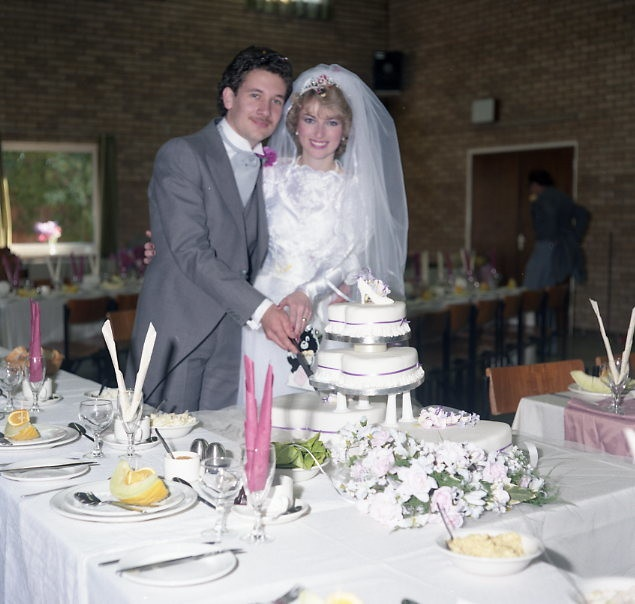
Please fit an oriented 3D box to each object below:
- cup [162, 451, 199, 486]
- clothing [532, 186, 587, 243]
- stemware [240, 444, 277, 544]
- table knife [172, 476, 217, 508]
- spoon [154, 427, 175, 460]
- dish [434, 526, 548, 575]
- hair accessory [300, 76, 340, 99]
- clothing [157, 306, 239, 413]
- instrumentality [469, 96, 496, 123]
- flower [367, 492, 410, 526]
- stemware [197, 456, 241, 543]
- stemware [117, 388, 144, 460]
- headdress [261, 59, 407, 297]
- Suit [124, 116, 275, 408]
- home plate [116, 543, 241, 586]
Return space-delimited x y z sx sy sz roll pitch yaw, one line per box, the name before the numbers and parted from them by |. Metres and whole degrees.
cup | -0.330 0.396 1.962 0.069 0.055 0.069 3 -7 0
clothing | 2.371 -0.836 8.094 0.474 0.624 0.574 -2 8 5
stemware | -0.112 0.374 1.630 0.059 0.184 0.059 5 -12 -17
table knife | -0.280 0.428 1.884 0.042 0.018 0.353 5 -8 10
spoon | -0.408 0.375 2.178 0.017 0.074 0.011 -40 -24 28
dish | 0.324 0.471 1.549 0.194 0.069 0.110 3 6 9
hair accessory | 0.000 -0.809 3.073 0.079 0.088 0.031 25 -18 13
clothing | -0.427 0.189 2.825 0.180 0.462 0.140 16 11 -23
instrumentality | 1.999 -2.322 9.926 0.062 0.287 0.271 -2 5 -34
flower | 0.145 0.426 1.688 0.072 0.067 0.035 2 6 7
stemware | -0.197 0.402 1.666 0.074 0.154 0.085 6 12 21
stemware | -0.478 0.300 2.093 0.068 0.215 0.070 2 14 1
headdress | 0.192 -0.488 3.408 0.548 0.937 0.233 -1 9 -9
Suit | -0.373 -0.114 2.788 0.518 1.027 0.619 -1 6 -21
home plate | -0.262 0.490 1.535 0.223 0.029 0.136 1 6 -5
